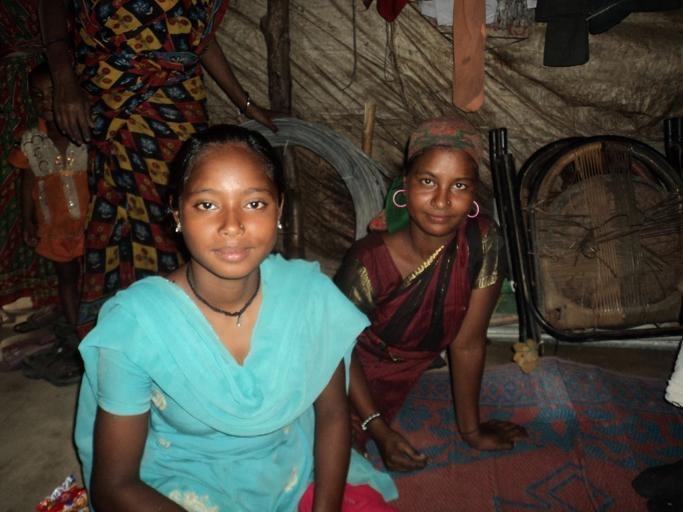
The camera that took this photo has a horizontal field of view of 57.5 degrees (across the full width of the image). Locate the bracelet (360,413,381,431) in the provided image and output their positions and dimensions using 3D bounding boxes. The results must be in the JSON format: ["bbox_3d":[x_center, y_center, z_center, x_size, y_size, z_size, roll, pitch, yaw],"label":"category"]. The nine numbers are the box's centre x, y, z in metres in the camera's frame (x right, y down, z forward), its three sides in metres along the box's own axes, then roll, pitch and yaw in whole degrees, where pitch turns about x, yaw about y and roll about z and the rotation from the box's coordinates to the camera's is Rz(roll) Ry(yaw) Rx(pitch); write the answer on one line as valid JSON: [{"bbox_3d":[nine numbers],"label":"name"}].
[{"bbox_3d":[0.148,0.900,3.361,0.102,0.101,0.028,-35,-12,13],"label":"bracelet"}]

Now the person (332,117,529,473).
[{"bbox_3d":[0.429,0.257,3.524,1.022,1.800,0.946,-2,23,-17],"label":"person"}]
